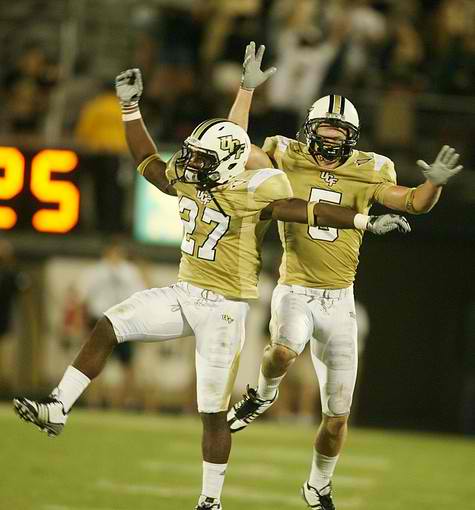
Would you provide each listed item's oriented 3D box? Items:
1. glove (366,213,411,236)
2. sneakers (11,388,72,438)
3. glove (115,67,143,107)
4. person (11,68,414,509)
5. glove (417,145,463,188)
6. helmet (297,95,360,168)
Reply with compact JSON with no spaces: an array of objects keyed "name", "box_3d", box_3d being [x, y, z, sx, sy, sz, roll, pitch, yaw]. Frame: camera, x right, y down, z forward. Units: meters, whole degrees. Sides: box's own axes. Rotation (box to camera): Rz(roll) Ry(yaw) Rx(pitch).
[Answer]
[{"name":"glove","box_3d":[0.638,-0.141,3.457,0.177,0.091,0.240,6,12,8]},{"name":"sneakers","box_3d":[-0.857,0.700,3.526,0.137,0.250,0.239,11,14,22]},{"name":"glove","box_3d":[-0.555,-0.863,4.177,0.174,0.180,0.093,2,8,3]},{"name":"person","box_3d":[-0.215,0.125,3.928,1.403,1.983,1.017,3,14,-7]},{"name":"glove","box_3d":[0.907,-0.403,3.670,0.181,0.184,0.305,8,12,12]},{"name":"helmet","box_3d":[0.471,-0.670,4.239,0.324,0.300,0.376,18,12,-4]}]
